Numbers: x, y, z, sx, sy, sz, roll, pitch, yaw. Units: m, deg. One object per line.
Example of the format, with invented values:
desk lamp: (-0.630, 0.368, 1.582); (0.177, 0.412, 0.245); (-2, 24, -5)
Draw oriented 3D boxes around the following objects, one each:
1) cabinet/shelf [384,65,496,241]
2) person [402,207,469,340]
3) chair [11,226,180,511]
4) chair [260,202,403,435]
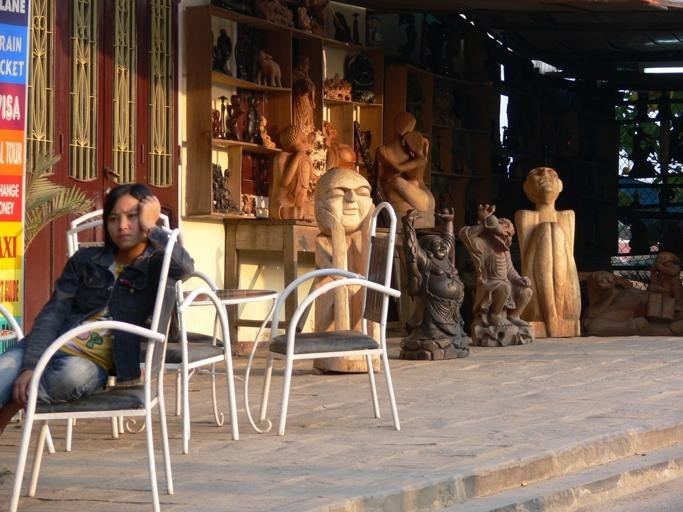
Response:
cabinet/shelf: (1.199, -1.332, 10.250); (1.617, 1.844, 0.493); (-5, 7, -42)
person: (0.742, 0.156, 6.797); (0.408, 1.105, 0.874); (0, 0, 35)
chair: (-1.051, 0.455, 3.412); (0.720, 1.116, 0.837); (0, 0, -12)
chair: (-0.085, 0.341, 4.558); (0.770, 1.273, 0.668); (-1, -1, -16)
